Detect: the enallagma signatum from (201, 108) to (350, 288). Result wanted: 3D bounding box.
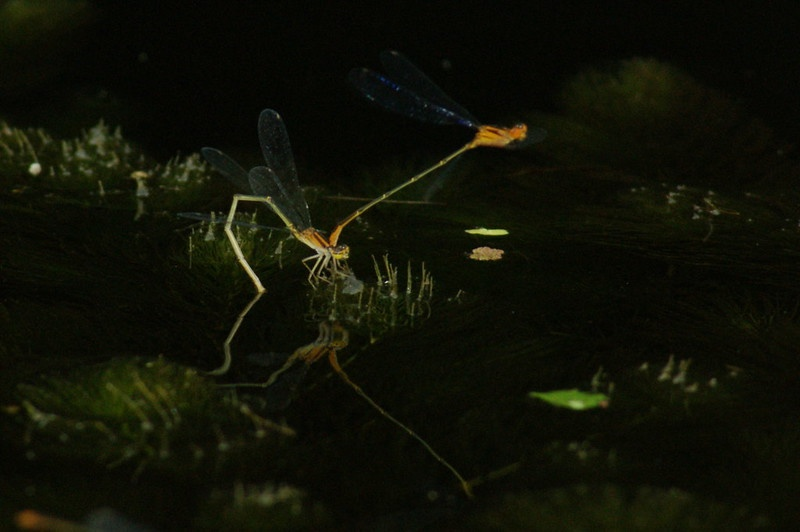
[{"bbox_3d":[-0.386,-0.187,2.434,0.376,0.507,0.234,33,72,7],"label":"enallagma signatum"}]
